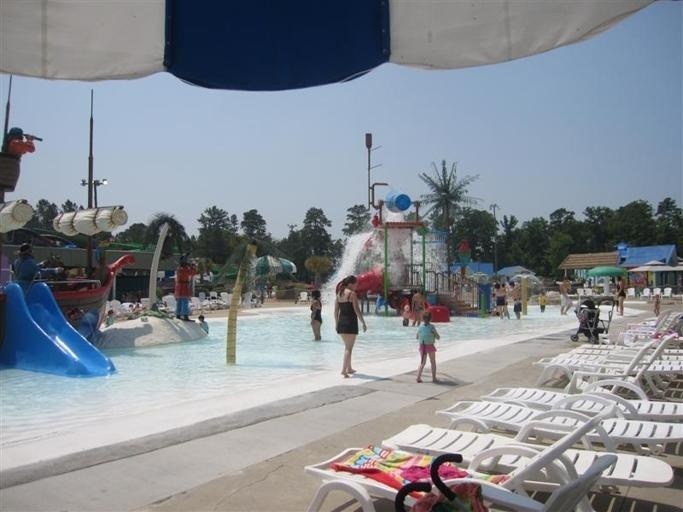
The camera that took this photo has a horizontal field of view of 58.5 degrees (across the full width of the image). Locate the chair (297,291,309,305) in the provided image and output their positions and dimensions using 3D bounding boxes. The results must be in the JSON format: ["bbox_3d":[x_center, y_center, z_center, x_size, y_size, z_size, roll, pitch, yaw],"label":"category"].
[{"bbox_3d":[-2.659,2.909,43.592,0.697,0.974,0.831,1,-8,-7],"label":"chair"}]

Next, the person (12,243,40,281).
[{"bbox_3d":[-6.985,0.136,13.647,0.506,0.920,0.855,0,-2,-29],"label":"person"}]
